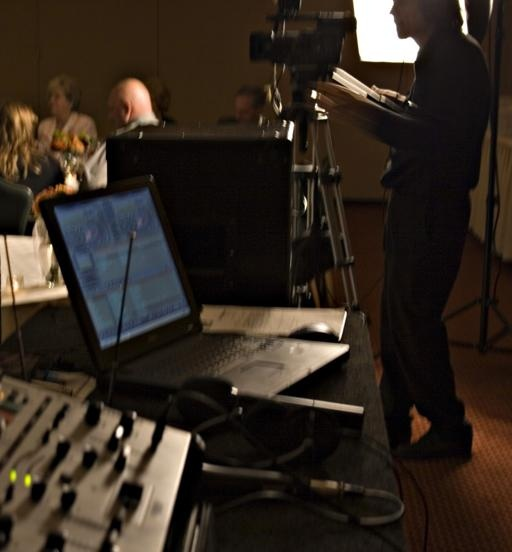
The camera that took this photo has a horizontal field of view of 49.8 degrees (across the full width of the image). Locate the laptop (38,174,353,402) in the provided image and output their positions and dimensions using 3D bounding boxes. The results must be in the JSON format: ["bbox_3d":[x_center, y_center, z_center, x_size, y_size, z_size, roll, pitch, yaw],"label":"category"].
[{"bbox_3d":[-0.088,-0.005,0.751,0.363,0.271,0.367,-11,8,-43],"label":"laptop"}]

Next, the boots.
[{"bbox_3d":[0.589,0.500,1.793,0.203,0.096,0.174,-5,22,25],"label":"boots"}]

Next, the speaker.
[{"bbox_3d":[-0.077,-0.159,1.138,0.266,0.358,0.315,1,15,4],"label":"speaker"}]

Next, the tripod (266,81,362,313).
[{"bbox_3d":[0.182,-0.230,1.760,0.267,0.724,0.291,1,-4,-27],"label":"tripod"}]
